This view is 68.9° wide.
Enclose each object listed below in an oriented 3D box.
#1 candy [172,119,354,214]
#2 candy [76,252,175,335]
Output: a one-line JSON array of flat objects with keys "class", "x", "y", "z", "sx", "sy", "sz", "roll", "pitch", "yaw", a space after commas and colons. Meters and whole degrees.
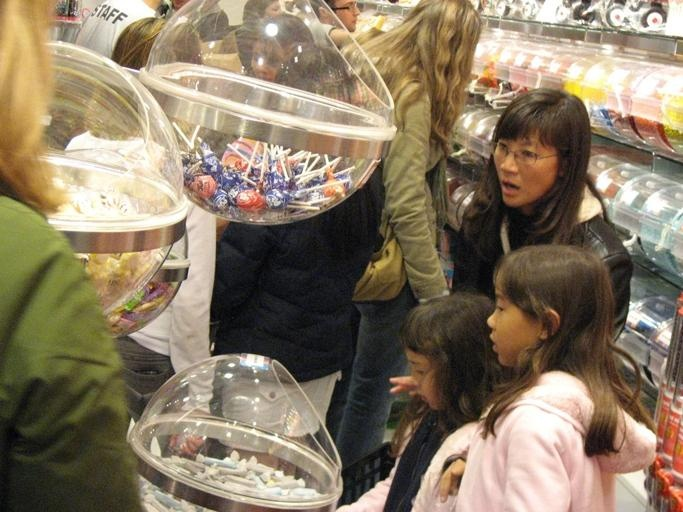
[{"class": "candy", "x": -0.196, "y": -0.179, "z": 1.211, "sx": 0.266, "sy": 0.125, "sz": 0.269, "roll": 11, "pitch": 2, "yaw": -3}, {"class": "candy", "x": -0.436, "y": 0.061, "z": 1.023, "sx": 0.174, "sy": 0.199, "sz": 0.145, "roll": 19, "pitch": 25, "yaw": 38}]
